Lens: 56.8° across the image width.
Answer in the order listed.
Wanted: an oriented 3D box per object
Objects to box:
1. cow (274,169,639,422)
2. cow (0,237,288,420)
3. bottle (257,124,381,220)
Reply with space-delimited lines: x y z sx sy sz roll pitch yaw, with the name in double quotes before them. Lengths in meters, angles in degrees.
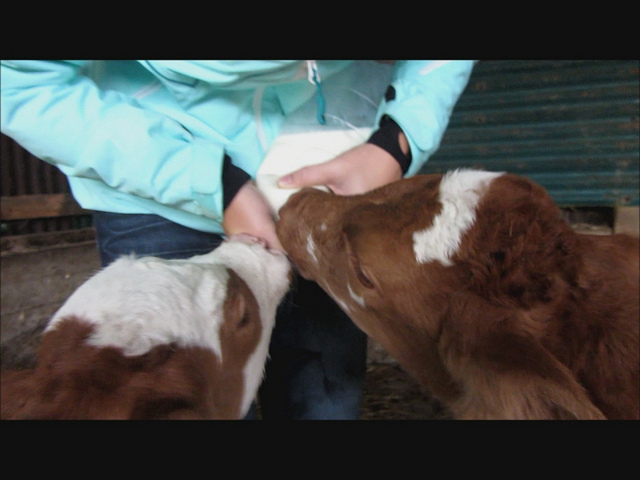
"cow" 0.553 0.213 2.524 1.290 0.758 0.809 19 86 19
"cow" -0.631 0.351 2.260 0.298 0.485 0.899 35 41 20
"bottle" 0.006 -0.344 2.815 0.439 0.138 0.487 -6 74 15
